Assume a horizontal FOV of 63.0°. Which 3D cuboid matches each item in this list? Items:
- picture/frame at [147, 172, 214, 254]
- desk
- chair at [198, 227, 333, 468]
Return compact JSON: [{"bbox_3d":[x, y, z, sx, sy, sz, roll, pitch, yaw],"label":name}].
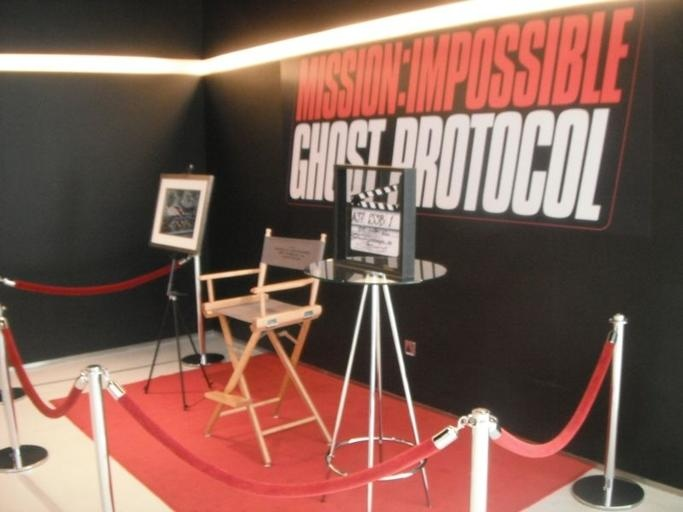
[{"bbox_3d":[-1.439,-0.379,4.920,0.062,0.673,0.698,13,5,22],"label":"picture/frame"},{"bbox_3d":[0.233,0.716,3.790,0.840,1.430,1.508,4,8,11],"label":"desk"},{"bbox_3d":[-0.587,0.638,4.109,0.805,1.541,0.805,-6,9,-37],"label":"chair"}]
